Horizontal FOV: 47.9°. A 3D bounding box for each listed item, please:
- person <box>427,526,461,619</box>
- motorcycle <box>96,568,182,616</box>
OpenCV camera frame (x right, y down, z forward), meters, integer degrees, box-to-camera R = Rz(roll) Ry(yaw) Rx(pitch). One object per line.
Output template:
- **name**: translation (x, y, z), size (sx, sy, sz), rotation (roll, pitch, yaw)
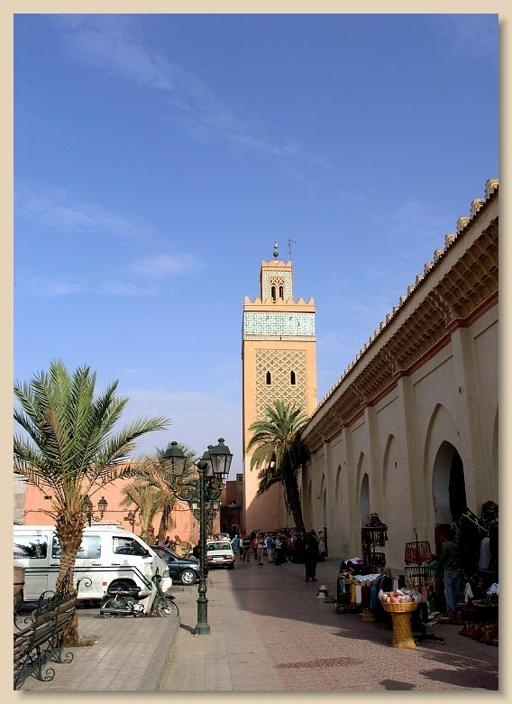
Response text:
- **person**: translation (2.967, 3.529, 9.132), size (0.393, 1.597, 0.523), rotation (29, -38, -26)
- **motorcycle**: translation (-2.052, 4.442, 10.913), size (1.607, 1.253, 0.920), rotation (0, -23, -4)
